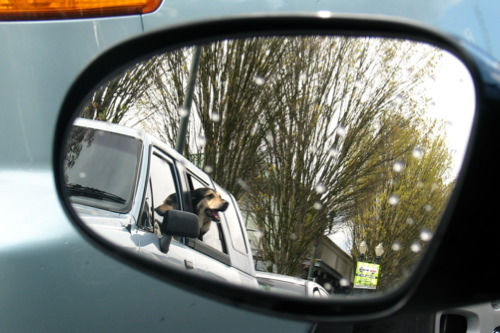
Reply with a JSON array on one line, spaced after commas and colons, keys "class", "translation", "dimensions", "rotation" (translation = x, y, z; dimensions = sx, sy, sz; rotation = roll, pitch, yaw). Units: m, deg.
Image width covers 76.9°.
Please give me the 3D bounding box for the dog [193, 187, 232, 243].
[{"class": "dog", "translation": [-0.228, 0.247, 1.718], "dimensions": [0.230, 0.301, 0.218], "rotation": [5, 5, 33]}]
